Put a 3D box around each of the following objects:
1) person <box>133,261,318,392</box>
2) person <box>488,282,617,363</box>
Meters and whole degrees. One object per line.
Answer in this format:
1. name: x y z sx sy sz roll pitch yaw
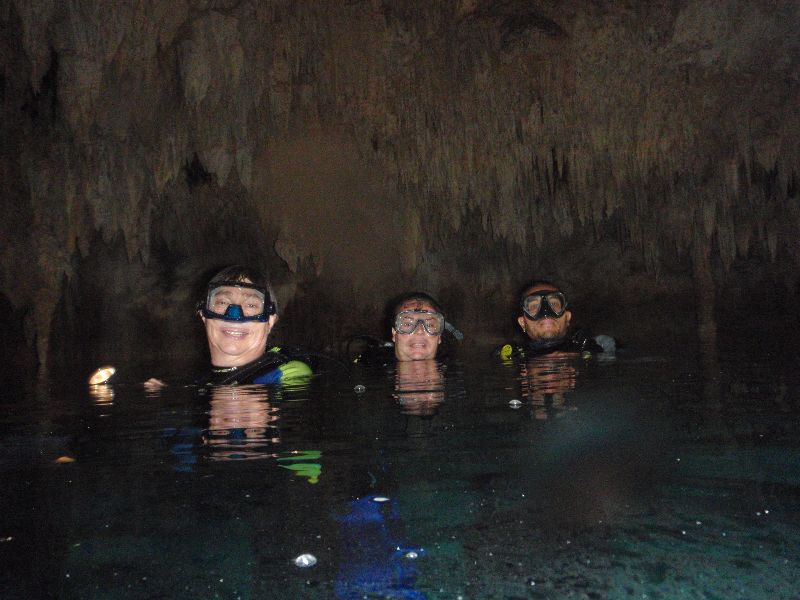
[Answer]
1. person: -0.947 0.211 5.029 0.861 0.753 0.430 -1 -12 4
2. person: 1.253 0.169 6.867 0.805 0.650 0.469 -1 8 4
